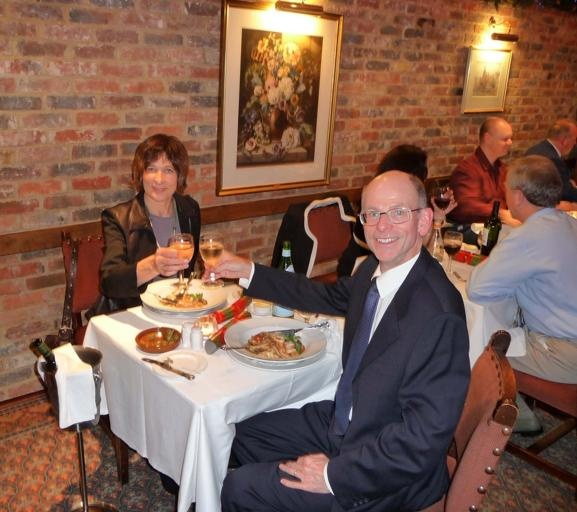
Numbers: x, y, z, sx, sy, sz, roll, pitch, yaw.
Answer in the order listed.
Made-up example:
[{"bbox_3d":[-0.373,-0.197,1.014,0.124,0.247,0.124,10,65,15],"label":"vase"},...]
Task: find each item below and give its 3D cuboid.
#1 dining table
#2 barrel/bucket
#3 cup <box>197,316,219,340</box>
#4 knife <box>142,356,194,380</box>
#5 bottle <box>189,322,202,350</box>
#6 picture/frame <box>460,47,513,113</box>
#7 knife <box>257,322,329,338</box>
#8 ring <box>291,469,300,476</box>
[{"bbox_3d":[-0.062,0.427,1.691,1.132,0.314,0.739,-15,38,-31],"label":"dining table"},{"bbox_3d":[-0.729,0.431,1.533,0.164,0.264,0.172,4,17,-1],"label":"barrel/bucket"},{"bbox_3d":[-0.310,0.268,1.739,0.059,0.027,0.079,1,51,-11],"label":"cup"},{"bbox_3d":[-0.399,0.369,1.493,0.138,0.021,0.034,21,6,28],"label":"knife"},{"bbox_3d":[-0.336,0.288,1.624,0.049,0.103,0.051,2,20,-1],"label":"bottle"},{"bbox_3d":[2.105,-1.856,4.829,0.849,0.699,0.070,-10,22,-39],"label":"picture/frame"},{"bbox_3d":[0.014,0.279,1.713,0.184,0.021,0.025,-7,15,-11],"label":"knife"},{"bbox_3d":[0.020,0.660,1.391,0.020,0.019,0.006,-24,-13,-13],"label":"ring"}]
